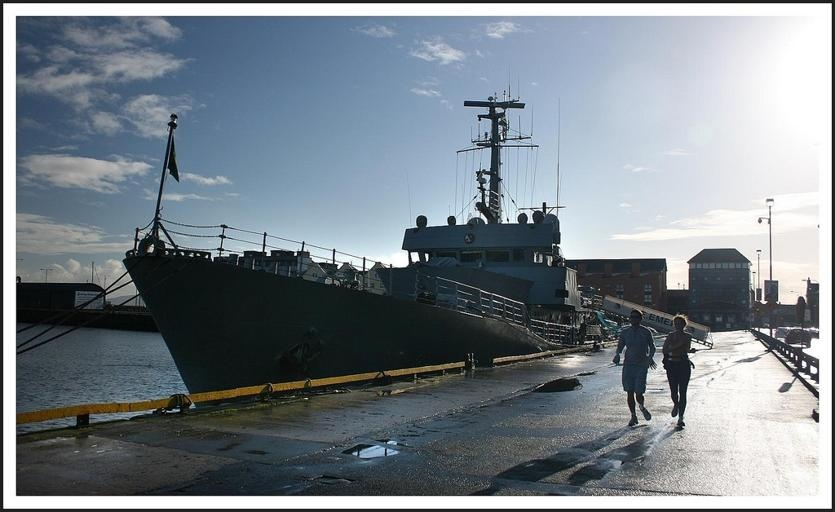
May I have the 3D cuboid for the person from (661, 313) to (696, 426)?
[{"bbox_3d":[4.717,2.041,11.827,0.461,1.831,1.181,2,1,22],"label":"person"}]
